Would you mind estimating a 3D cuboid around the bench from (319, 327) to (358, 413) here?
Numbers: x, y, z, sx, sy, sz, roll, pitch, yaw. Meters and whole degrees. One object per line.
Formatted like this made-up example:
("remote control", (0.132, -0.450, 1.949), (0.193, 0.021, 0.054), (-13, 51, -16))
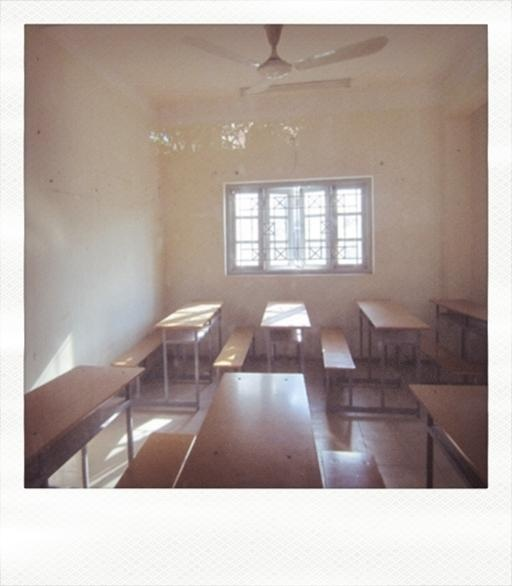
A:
("bench", (0.261, 0.244, 1.651), (0.066, 0.130, 0.243), (0, 10, 4))
